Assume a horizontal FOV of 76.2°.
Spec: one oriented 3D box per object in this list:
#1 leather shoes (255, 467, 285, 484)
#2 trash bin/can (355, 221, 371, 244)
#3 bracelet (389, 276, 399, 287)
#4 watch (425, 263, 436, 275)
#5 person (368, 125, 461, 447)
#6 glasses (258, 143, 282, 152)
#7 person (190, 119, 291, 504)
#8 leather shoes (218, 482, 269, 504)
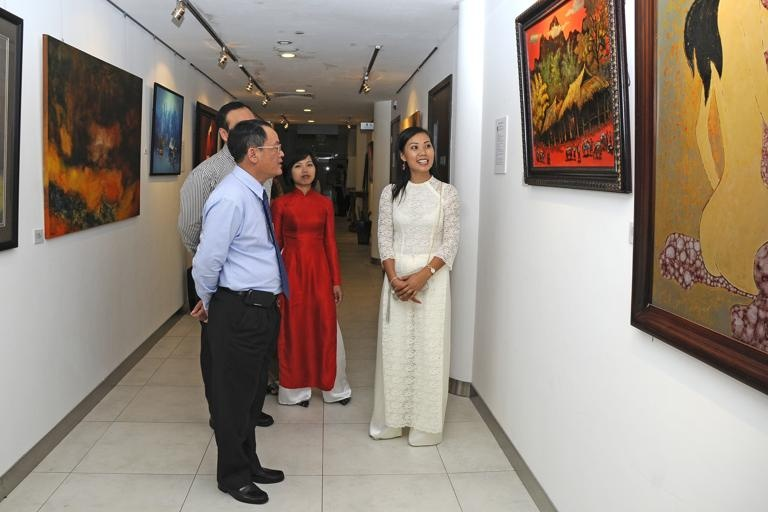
[{"bbox_3d":[-0.753,1.464,3.250,0.179,0.069,0.094,0,3,-6],"label":"leather shoes"},{"bbox_3d":[-0.533,-0.648,13.245,0.517,0.606,0.537,-1,6,-10],"label":"trash bin/can"},{"bbox_3d":[0.080,0.187,3.546,0.055,0.067,0.025,-14,-23,-8],"label":"bracelet"},{"bbox_3d":[0.337,0.094,3.469,0.033,0.062,0.069,-24,-27,-8],"label":"watch"},{"bbox_3d":[0.219,0.264,3.655,0.629,2.407,0.396,3,8,9],"label":"person"},{"bbox_3d":[-0.681,-0.669,3.001,0.076,0.045,0.186,5,11,21],"label":"glasses"},{"bbox_3d":[-0.869,0.363,3.004,0.542,2.357,0.295,-1,8,-12],"label":"person"},{"bbox_3d":[-0.880,1.481,3.061,0.256,0.108,0.117,3,1,13],"label":"leather shoes"}]
